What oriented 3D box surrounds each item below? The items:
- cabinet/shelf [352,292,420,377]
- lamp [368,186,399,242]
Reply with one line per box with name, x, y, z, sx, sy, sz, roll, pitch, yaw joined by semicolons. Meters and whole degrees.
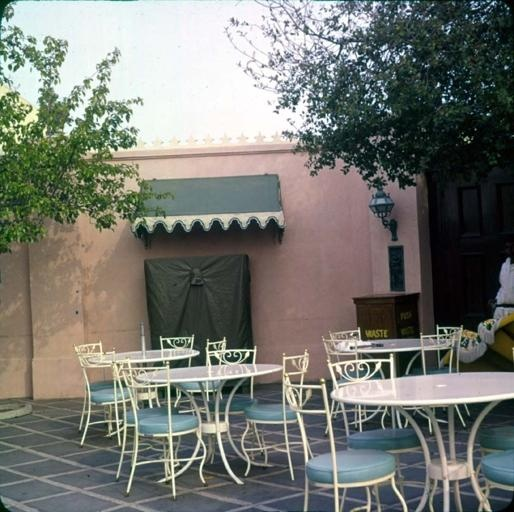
cabinet/shelf;1.729;1.326;9.575;0.609;1.229;0.753;0;-44;11
lamp;1.939;-0.655;10.236;0.312;0.941;0.512;-8;0;-10
